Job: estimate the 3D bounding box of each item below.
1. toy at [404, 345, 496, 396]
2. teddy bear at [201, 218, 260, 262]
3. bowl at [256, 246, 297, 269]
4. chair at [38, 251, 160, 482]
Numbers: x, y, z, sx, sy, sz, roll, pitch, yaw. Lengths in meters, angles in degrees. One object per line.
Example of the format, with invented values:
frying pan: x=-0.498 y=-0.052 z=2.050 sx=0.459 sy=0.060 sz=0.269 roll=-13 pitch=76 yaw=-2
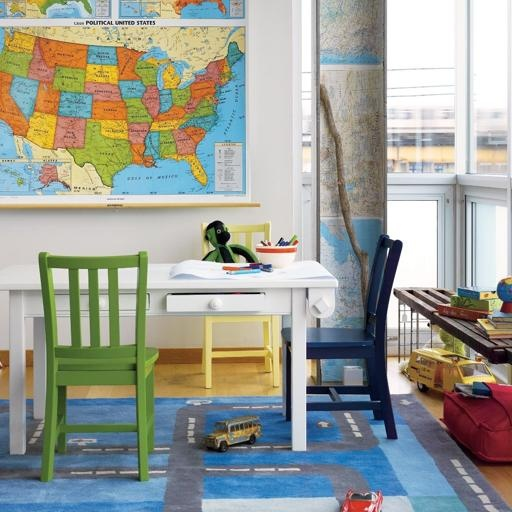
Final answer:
toy: x=1.015 y=0.593 z=2.997 sx=0.213 sy=0.182 sz=0.404 roll=1 pitch=-4 yaw=-30
teddy bear: x=-0.141 y=-0.074 z=3.132 sx=0.199 sy=0.223 sz=0.325 roll=-3 pitch=4 yaw=-36
bowl: x=0.080 y=0.017 z=2.469 sx=0.122 sy=0.063 sz=0.116 roll=-1 pitch=-1 yaw=0
chair: x=-0.585 y=0.376 z=2.141 sx=0.426 sy=0.803 sz=0.515 roll=-1 pitch=4 yaw=-9
